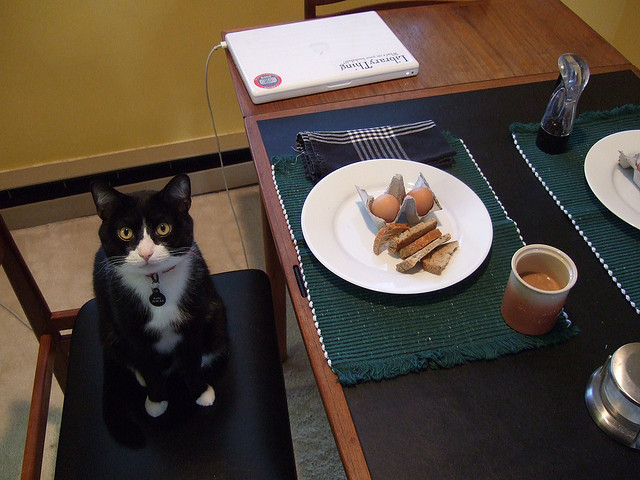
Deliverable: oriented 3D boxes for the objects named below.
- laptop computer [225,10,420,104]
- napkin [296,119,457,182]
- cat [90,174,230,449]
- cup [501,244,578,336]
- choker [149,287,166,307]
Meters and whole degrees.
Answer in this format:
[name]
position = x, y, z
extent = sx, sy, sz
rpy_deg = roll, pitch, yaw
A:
[laptop computer]
position = 0.003, -0.515, 1.462
extent = 0.375, 0.045, 0.322
rpy_deg = -12, 51, -11
[napkin]
position = 0.125, -0.229, 1.273
extent = 0.291, 0.048, 0.193
rpy_deg = -5, 58, -11
[cat]
position = -0.362, 0.108, 1.150
extent = 0.222, 0.562, 0.376
rpy_deg = 5, 31, 12
[cup]
position = 0.413, 0.098, 0.996
extent = 0.096, 0.128, 0.115
rpy_deg = -30, 47, -24
[choker]
position = -0.326, 0.114, 1.049
extent = 0.028, 0.045, 0.005
rpy_deg = -8, 29, -5
